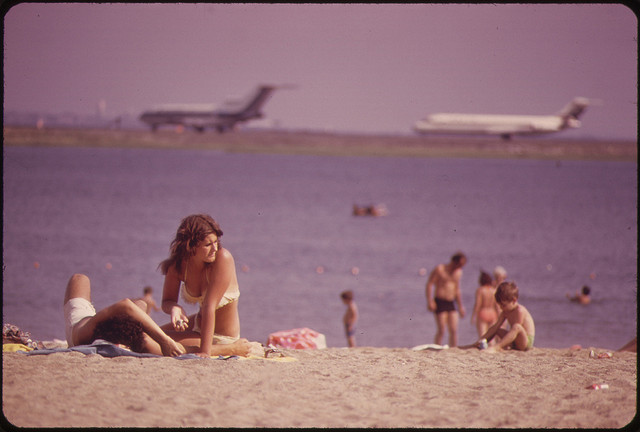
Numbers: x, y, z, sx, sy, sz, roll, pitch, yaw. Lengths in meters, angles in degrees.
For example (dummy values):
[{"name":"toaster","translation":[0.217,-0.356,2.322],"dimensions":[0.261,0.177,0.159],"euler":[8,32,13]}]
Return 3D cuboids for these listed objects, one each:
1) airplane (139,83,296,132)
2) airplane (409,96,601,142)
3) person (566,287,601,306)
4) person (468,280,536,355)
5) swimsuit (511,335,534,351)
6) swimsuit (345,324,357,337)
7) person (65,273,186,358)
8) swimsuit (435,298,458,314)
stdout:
[{"name":"airplane","translation":[-1.955,-1.933,19.536],"dimensions":[2.738,0.770,2.705],"euler":[3,11,19]},{"name":"airplane","translation":[3.743,-1.974,21.133],"dimensions":[3.701,1.047,2.691],"euler":[4,8,13]},{"name":"person","translation":[5.193,1.603,20.333],"dimensions":[0.435,0.382,0.699],"euler":[5,-10,-31]},{"name":"person","translation":[2.904,1.662,16.668],"dimensions":[1.200,1.145,0.767],"euler":[-4,6,-16]},{"name":"swimsuit","translation":[3.272,2.062,16.759],"dimensions":[0.250,0.213,0.274],"euler":[1,-5,9]},{"name":"swimsuit","translation":[0.555,2.070,18.576],"dimensions":[0.196,0.227,0.199],"euler":[1,0,2]},{"name":"person","translation":[-3.085,1.655,15.877],"dimensions":[1.963,0.814,0.872],"euler":[24,5,16]},{"name":"swimsuit","translation":[2.181,1.563,17.924],"dimensions":[0.394,0.285,0.233],"euler":[-1,-4,-7]}]
